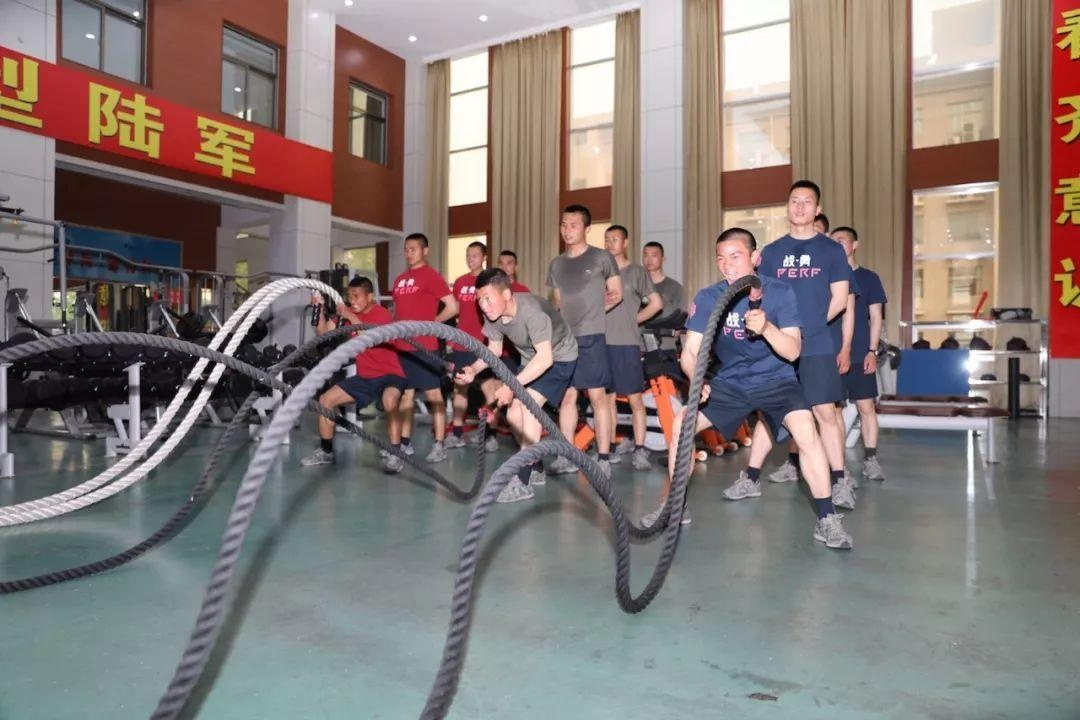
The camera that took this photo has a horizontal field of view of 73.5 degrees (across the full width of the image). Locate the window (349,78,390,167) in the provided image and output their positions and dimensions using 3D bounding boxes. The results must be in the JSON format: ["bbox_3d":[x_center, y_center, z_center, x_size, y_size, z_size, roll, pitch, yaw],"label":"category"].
[{"bbox_3d":[-3.207,-4.492,13.683,0.228,1.395,1.027,-2,6,25],"label":"window"}]

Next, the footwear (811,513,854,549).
[{"bbox_3d":[1.699,0.999,4.214,0.128,0.150,0.253,0,-6,-7],"label":"footwear"}]

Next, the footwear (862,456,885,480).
[{"bbox_3d":[2.643,0.860,5.701,0.101,0.132,0.282,-4,-8,14],"label":"footwear"}]

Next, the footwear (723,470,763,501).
[{"bbox_3d":[1.412,0.888,5.104,0.354,0.230,0.126,0,-4,-18],"label":"footwear"}]

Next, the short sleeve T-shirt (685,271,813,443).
[{"bbox_3d":[1.249,-0.020,4.223,0.826,1.026,0.591,-7,21,32],"label":"short sleeve T-shirt"}]

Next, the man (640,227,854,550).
[{"bbox_3d":[1.287,0.106,4.055,1.051,1.737,1.152,-3,0,-41],"label":"man"}]

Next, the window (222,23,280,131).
[{"bbox_3d":[-4.717,-4.637,11.856,0.242,1.506,1.123,-1,7,30],"label":"window"}]

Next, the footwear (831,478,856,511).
[{"bbox_3d":[2.015,0.891,4.796,0.118,0.153,0.358,-4,-13,22],"label":"footwear"}]

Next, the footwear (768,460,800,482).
[{"bbox_3d":[1.923,0.880,5.640,0.303,0.155,0.109,0,-3,-16],"label":"footwear"}]
